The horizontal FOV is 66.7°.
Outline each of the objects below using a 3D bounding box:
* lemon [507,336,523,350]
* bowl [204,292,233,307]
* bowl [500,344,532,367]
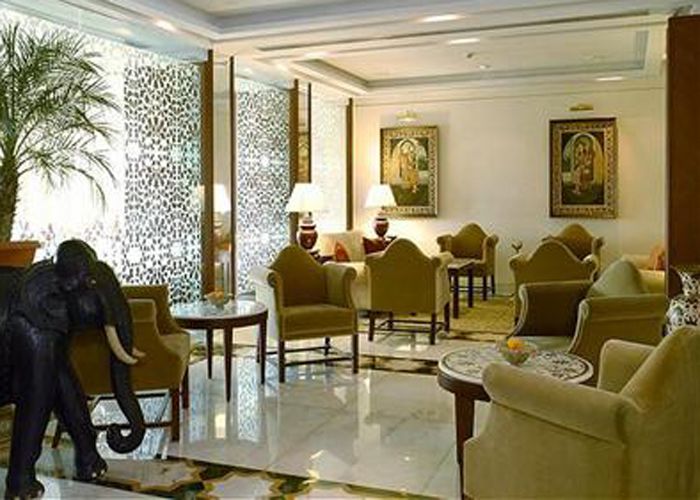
[{"bbox_3d":[1.020,0.572,3.269,0.087,0.068,0.078,-1,0,-25],"label":"lemon"},{"bbox_3d":[-1.184,0.425,4.838,0.174,0.077,0.167,0,0,0],"label":"bowl"},{"bbox_3d":[1.001,0.634,3.230,0.138,0.095,0.142,-2,5,0],"label":"bowl"}]
